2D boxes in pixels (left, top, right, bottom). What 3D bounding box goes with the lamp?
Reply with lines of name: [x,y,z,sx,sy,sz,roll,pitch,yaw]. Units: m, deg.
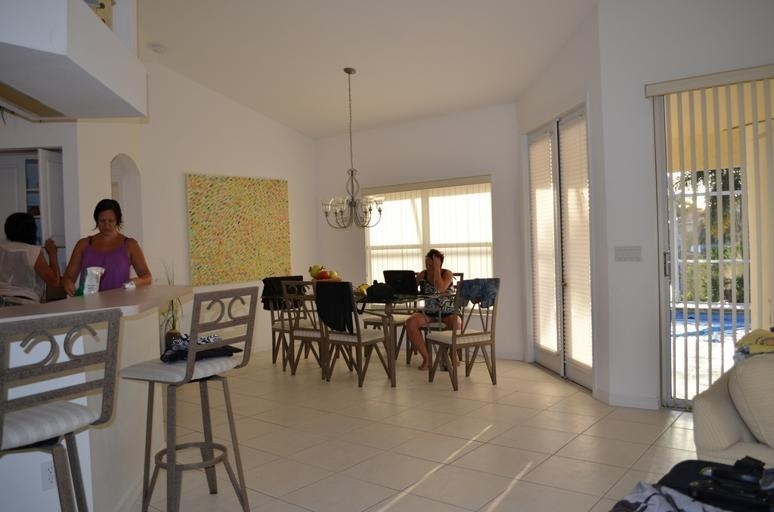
lamp: [-0.479,-1.331,7.414,0.879,1.986,2.382,-3,5,-6]

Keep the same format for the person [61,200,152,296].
person: [-2.254,-0.080,4.101,0.592,0.723,0.744,-6,7,-33]

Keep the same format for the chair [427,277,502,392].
chair: [0.862,0.895,5.912,0.700,1.170,0.733,-1,-2,-35]

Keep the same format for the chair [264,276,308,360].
chair: [-1.271,0.885,6.982,0.795,1.151,0.840,-1,-1,-15]

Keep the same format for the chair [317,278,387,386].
chair: [-0.460,0.861,6.107,0.726,1.210,0.853,-4,6,-14]

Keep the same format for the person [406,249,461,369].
person: [0.529,0.631,6.222,0.837,1.421,0.748,3,-8,-29]
